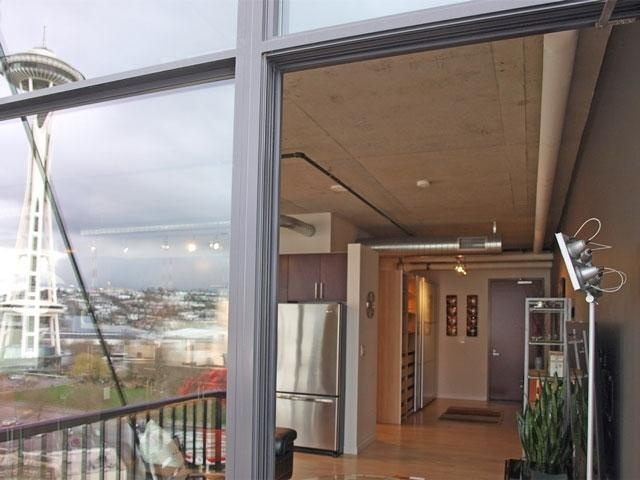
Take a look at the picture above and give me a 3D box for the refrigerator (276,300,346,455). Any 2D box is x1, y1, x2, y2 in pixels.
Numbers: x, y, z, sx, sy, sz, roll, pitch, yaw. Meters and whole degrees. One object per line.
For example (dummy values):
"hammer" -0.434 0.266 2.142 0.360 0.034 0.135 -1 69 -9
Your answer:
"refrigerator" -0.109 1.682 6.361 0.852 1.768 0.324 0 -9 0
